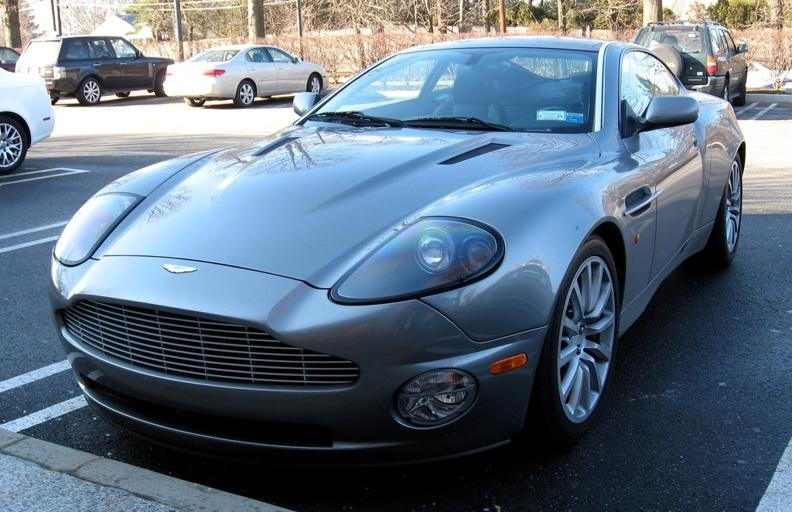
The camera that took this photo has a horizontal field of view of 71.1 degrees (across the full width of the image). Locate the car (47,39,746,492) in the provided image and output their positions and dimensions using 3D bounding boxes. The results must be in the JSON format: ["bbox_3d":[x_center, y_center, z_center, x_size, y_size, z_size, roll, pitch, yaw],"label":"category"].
[{"bbox_3d":[0.143,-0.240,3.296,3.620,2.126,2.130,-17,23,-39],"label":"car"}]

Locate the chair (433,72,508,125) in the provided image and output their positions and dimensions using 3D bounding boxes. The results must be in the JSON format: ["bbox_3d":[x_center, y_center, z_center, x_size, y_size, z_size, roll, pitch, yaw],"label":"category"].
[{"bbox_3d":[0.535,-1.081,3.910,0.396,0.445,0.565,2,-1,17],"label":"chair"}]
